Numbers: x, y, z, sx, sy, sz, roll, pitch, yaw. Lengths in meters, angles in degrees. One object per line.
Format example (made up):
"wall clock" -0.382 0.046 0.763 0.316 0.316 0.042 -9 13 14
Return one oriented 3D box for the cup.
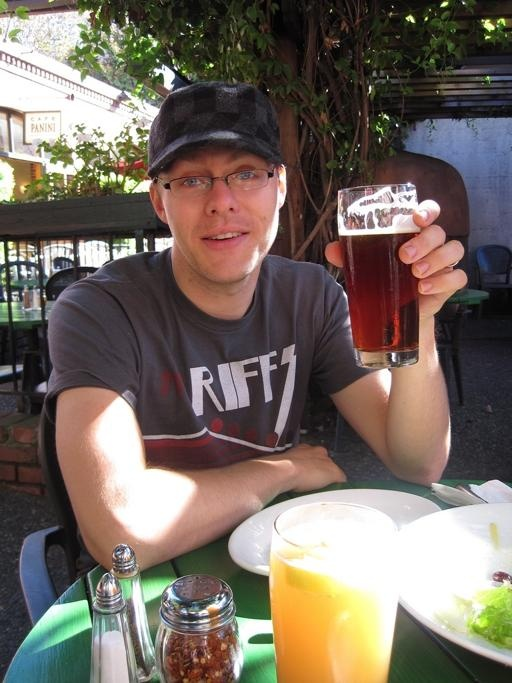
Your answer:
"cup" 0.225 -0.111 0.996 0.137 0.327 0.116 -2 5 15
